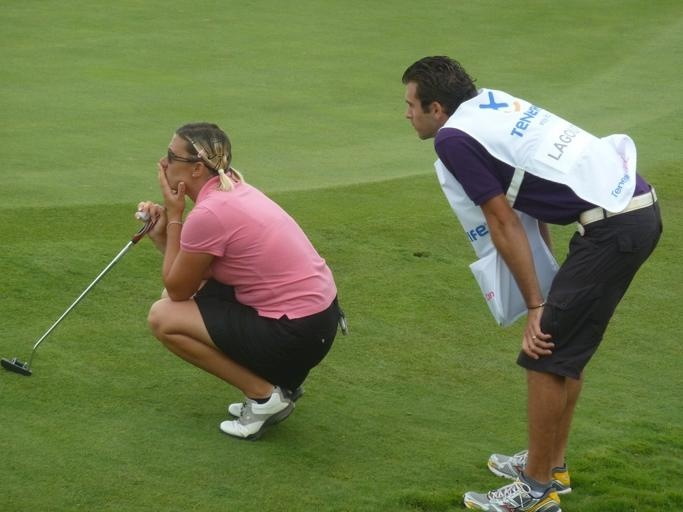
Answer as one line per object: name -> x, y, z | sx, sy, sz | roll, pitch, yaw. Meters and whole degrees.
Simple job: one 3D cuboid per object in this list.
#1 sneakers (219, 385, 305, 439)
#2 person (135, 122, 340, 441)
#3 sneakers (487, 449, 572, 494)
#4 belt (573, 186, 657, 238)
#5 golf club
sneakers -> -0.400, 0.810, 5.295 | 0.354, 0.142, 0.215 | -17, 37, 4
person -> -0.541, 0.107, 5.316 | 1.021, 1.349, 0.589 | 27, 29, 25
sneakers -> 0.864, 1.014, 5.099 | 0.445, 0.181, 0.163 | 11, 17, 32
belt -> 1.264, -0.210, 4.857 | 0.281, 0.064, 0.214 | -19, -1, 4
golf club -> -1.481, 0.251, 6.000 | 0.371, 1.214, 0.133 | 45, -5, 36
